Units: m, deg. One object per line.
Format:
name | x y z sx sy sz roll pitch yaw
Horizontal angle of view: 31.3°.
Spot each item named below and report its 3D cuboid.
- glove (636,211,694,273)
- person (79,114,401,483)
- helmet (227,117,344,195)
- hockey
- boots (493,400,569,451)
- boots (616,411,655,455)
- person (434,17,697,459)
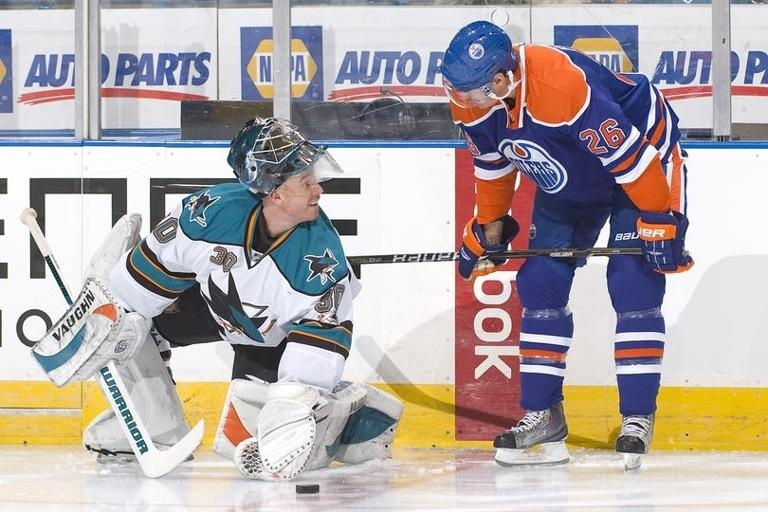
glove | 1.275 -0.065 6.207 0.222 0.268 0.247 0 8 28
person | -0.579 0.168 6.314 1.137 1.603 0.715 6 10 20
helmet | -0.459 -0.458 6.268 0.571 0.329 0.377 10 20 32
hockey | -1.320 0.371 6.613 0.577 1.635 0.089 -30 -20 4
boots | 0.671 0.789 6.384 0.403 0.205 0.127 -3 8 -33
boots | 1.138 0.816 6.259 0.141 0.202 0.180 5 9 17
person | 0.831 -0.021 6.345 1.151 2.068 0.481 4 9 10
